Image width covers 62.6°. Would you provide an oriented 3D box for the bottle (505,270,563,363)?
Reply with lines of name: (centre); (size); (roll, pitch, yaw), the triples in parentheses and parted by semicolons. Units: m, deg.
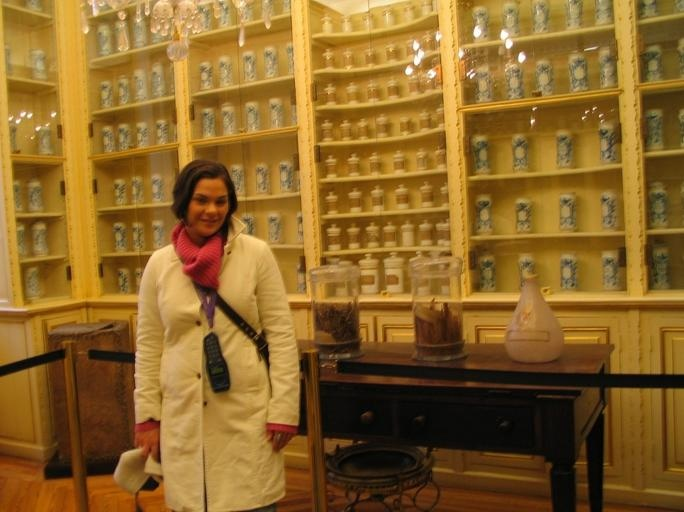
bottle: (0.711, 0.231, 2.105); (0.209, 0.309, 0.211); (-3, 6, 0)
